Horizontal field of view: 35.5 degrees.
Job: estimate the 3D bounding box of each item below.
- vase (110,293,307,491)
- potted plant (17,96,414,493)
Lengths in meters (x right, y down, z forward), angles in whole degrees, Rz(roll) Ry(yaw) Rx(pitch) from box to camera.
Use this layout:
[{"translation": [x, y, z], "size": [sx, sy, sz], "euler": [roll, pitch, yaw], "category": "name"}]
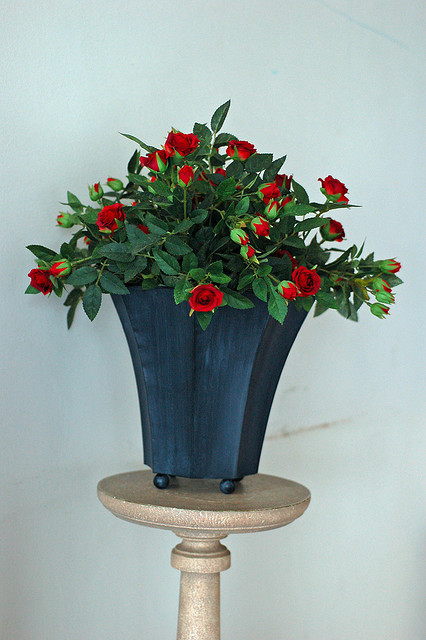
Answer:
[{"translation": [-0.026, 0.129, 1.064], "size": [0.328, 0.265, 0.296], "euler": [8, -14, -32], "category": "vase"}, {"translation": [-0.035, -0.003, 1.025], "size": [0.477, 0.463, 0.503], "euler": [1, -1, 6], "category": "potted plant"}]
